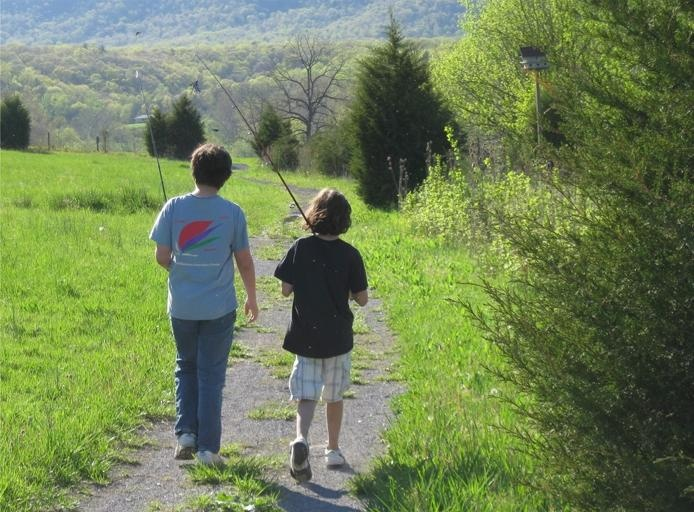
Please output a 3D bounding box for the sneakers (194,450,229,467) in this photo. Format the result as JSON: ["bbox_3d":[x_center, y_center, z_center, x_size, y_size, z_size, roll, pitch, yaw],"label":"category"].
[{"bbox_3d":[-1.395,2.115,10.537,0.311,0.148,0.134,13,29,-50],"label":"sneakers"}]

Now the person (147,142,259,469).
[{"bbox_3d":[-1.470,0.525,10.615,1.017,3.223,0.812,-2,12,-13],"label":"person"}]

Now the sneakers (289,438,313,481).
[{"bbox_3d":[-0.472,2.091,10.517,0.225,0.471,0.292,0,12,-3],"label":"sneakers"}]

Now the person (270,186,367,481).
[{"bbox_3d":[-0.247,0.789,10.626,0.883,2.846,0.646,0,11,-6],"label":"person"}]
